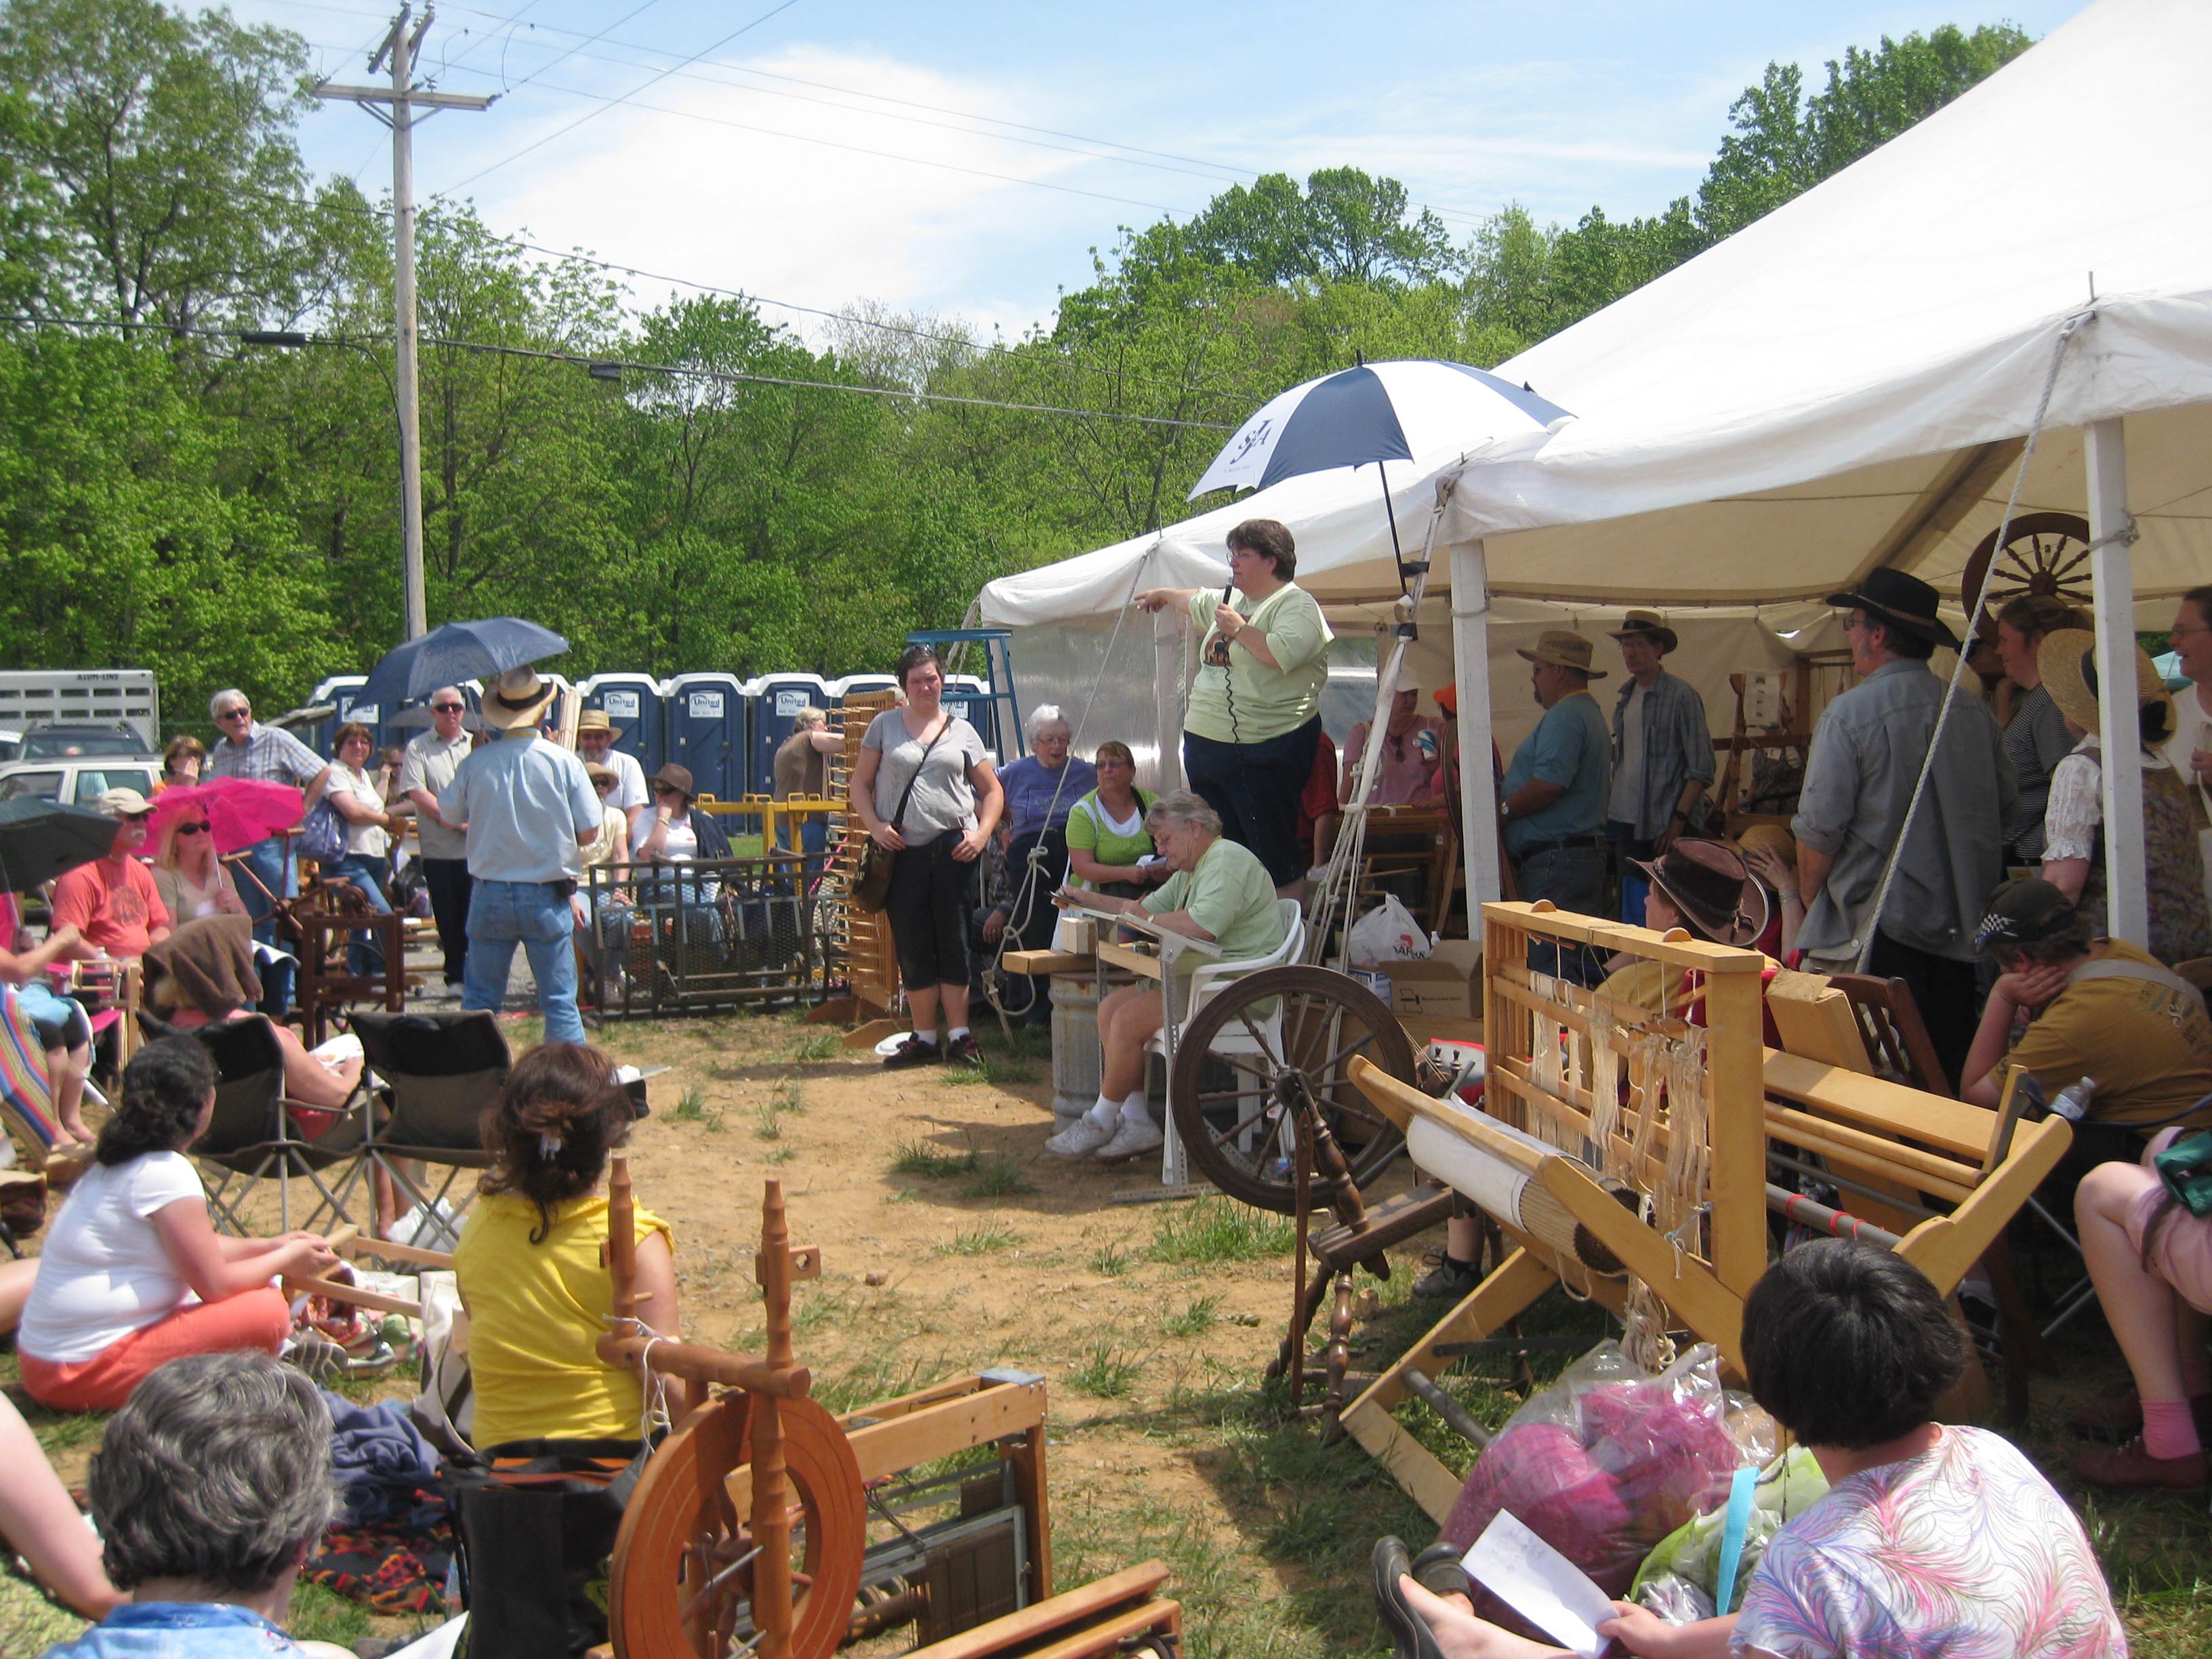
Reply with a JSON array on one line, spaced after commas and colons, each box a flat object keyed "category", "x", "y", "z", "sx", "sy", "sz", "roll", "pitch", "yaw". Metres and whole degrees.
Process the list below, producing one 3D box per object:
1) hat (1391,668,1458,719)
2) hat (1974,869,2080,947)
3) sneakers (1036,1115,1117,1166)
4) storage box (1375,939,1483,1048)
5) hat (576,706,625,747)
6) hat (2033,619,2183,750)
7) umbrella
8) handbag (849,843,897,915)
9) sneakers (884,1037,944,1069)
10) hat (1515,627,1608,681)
[{"category": "hat", "x": 1.903, "y": -0.789, "z": 12.572, "sx": 0.366, "sy": 0.166, "sz": 0.589, "roll": 4, "pitch": 0, "yaw": -3}, {"category": "hat", "x": 2.684, "y": 0.242, "z": 6.281, "sx": 0.249, "sy": 0.170, "sz": 0.189, "roll": -13, "pitch": 7, "yaw": -33}, {"category": "sneakers", "x": -0.121, "y": 1.365, "z": 9.411, "sx": 0.292, "sy": 0.133, "sz": 0.166, "roll": -5, "pitch": 13, "yaw": 0}, {"category": "storage box", "x": 1.362, "y": 0.685, "z": 8.924, "sx": 0.359, "sy": 0.258, "sz": 0.343, "roll": -2, "pitch": 7, "yaw": -23}, {"category": "hat", "x": -3.278, "y": -0.697, "z": 13.784, "sx": 0.313, "sy": 0.164, "sz": 0.380, "roll": 2, "pitch": -17, "yaw": -7}, {"category": "hat", "x": 3.433, "y": -0.537, "z": 7.485, "sx": 0.402, "sy": 0.439, "sz": 0.120, "roll": -9, "pitch": -5, "yaw": -31}, {"category": "umbrella", "x": 1.046, "y": -1.460, "z": 8.417, "sx": 0.982, "sy": 0.707, "sz": 1.029, "roll": -4, "pitch": 16, "yaw": 45}, {"category": "handbag", "x": -1.211, "y": 0.270, "z": 11.247, "sx": 0.304, "sy": 0.385, "sz": 0.157, "roll": 10, "pitch": 13, "yaw": 7}, {"category": "sneakers", "x": -1.043, "y": 1.203, "z": 11.544, "sx": 0.275, "sy": 0.136, "sz": 0.150, "roll": 4, "pitch": 6, "yaw": 5}, {"category": "hat", "x": 2.405, "y": -0.941, "z": 11.374, "sx": 0.498, "sy": 0.181, "sz": 0.471, "roll": 18, "pitch": 3, "yaw": 19}]
